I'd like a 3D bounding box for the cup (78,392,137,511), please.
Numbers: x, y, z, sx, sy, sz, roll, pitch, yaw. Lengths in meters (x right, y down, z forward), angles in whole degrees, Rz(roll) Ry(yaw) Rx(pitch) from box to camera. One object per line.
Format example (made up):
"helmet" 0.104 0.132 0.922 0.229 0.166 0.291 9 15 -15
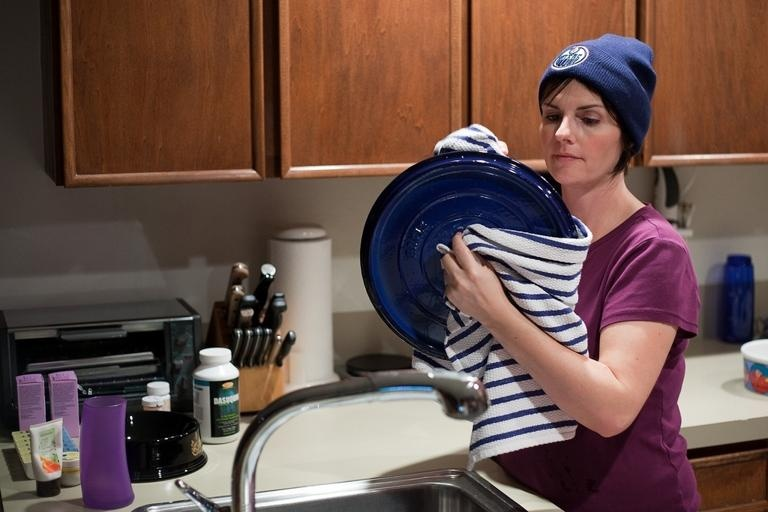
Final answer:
"cup" -0.694 0.491 1.766 0.122 0.273 0.056 -7 7 -20

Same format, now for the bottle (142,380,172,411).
"bottle" -0.651 0.403 2.045 0.054 0.095 0.090 0 -2 -20

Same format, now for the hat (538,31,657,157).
"hat" 0.569 -0.408 1.896 0.286 0.318 0.234 3 -1 -13

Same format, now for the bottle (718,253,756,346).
"bottle" 1.402 0.172 2.835 0.112 0.348 0.061 -2 7 19

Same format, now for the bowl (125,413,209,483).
"bowl" -0.612 0.521 2.003 0.255 0.106 0.268 12 -6 1

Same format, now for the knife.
"knife" -0.384 0.192 2.229 0.149 0.302 0.160 -10 39 -23
